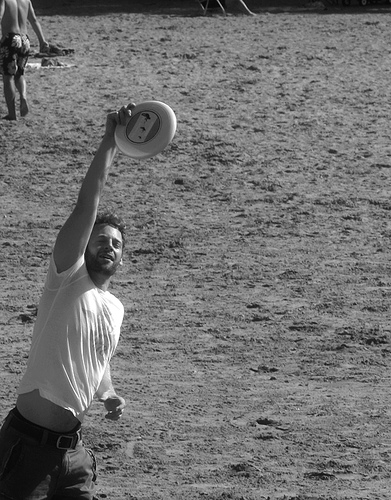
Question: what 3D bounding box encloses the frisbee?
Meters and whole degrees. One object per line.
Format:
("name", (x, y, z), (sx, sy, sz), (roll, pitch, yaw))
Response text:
("frisbee", (-0.304, -0.699, 6.757), (0.343, 0.344, 0.082), (35, 10, -39))
